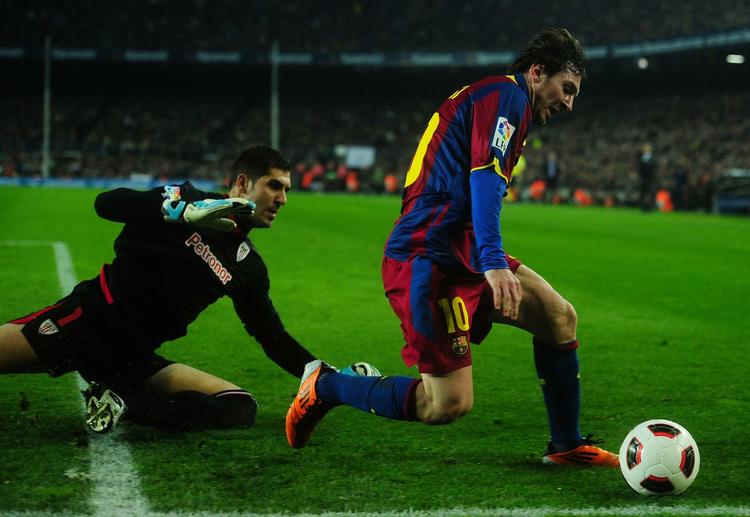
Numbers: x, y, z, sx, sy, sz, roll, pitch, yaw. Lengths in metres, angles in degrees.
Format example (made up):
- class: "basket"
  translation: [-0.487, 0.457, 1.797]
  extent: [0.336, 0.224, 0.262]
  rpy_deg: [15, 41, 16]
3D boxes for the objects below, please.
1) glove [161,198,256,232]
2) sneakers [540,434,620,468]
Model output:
- class: "glove"
  translation: [-1.049, -0.270, 5.638]
  extent: [0.442, 0.148, 0.249]
  rpy_deg: [6, -12, 8]
- class: "sneakers"
  translation: [1.274, 1.229, 5.750]
  extent: [0.539, 0.198, 0.173]
  rpy_deg: [1, -12, 2]
